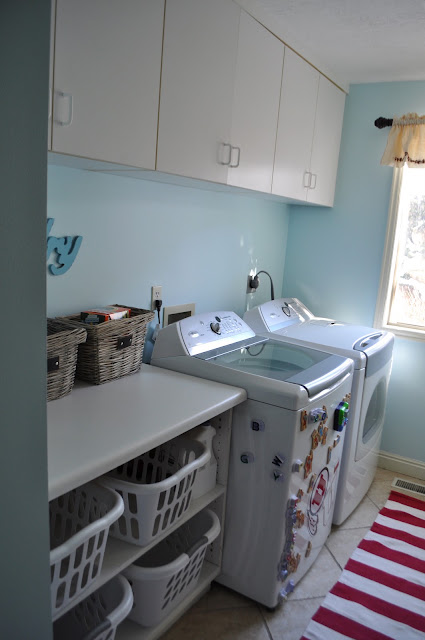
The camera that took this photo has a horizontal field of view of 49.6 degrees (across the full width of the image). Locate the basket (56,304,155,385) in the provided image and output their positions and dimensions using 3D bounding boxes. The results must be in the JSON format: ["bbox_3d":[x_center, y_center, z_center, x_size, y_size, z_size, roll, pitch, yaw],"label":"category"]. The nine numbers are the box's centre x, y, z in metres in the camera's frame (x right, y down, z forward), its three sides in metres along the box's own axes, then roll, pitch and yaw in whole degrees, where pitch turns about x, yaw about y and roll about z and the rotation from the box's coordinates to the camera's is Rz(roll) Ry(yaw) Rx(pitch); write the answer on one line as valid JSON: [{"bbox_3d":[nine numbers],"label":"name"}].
[{"bbox_3d":[-0.368,0.007,1.583,0.225,0.238,0.333,4,11,26],"label":"basket"}]

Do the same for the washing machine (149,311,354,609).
[{"bbox_3d":[0.211,0.392,2.369,0.968,1.468,1.012,12,21,31],"label":"washing machine"}]

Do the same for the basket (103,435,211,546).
[{"bbox_3d":[-0.182,0.493,1.341,0.230,0.170,0.309,2,9,27],"label":"basket"}]

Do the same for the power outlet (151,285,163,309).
[{"bbox_3d":[-0.256,-0.106,2.056,0.010,0.107,0.091,7,10,29],"label":"power outlet"}]

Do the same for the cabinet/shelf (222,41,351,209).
[{"bbox_3d":[0.341,-0.936,2.168,0.307,0.713,0.799,10,4,35],"label":"cabinet/shelf"}]

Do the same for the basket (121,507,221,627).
[{"bbox_3d":[-0.142,0.789,1.478,0.239,0.232,0.344,7,14,29],"label":"basket"}]

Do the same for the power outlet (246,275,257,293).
[{"bbox_3d":[0.253,-0.221,2.835,0.055,0.108,0.138,10,11,21],"label":"power outlet"}]
